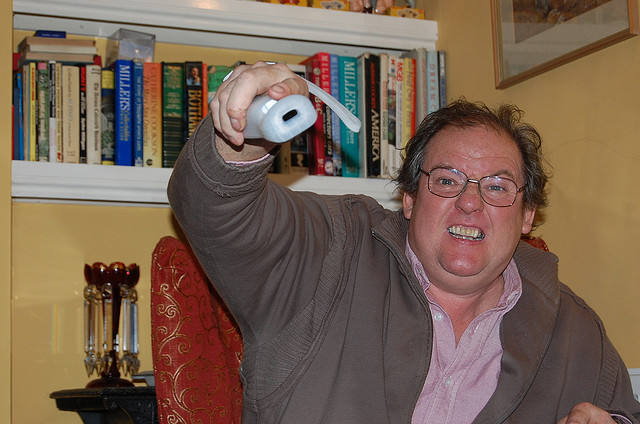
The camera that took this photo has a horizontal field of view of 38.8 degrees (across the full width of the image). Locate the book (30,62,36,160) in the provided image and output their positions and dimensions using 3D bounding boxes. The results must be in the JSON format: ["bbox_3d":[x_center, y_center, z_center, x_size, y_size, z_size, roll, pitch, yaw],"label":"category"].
[{"bbox_3d":[-1.021,-0.359,3.222,0.024,0.353,0.033,-1,0,-13],"label":"book"}]

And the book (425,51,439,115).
[{"bbox_3d":[0.445,-0.520,3.603,0.053,0.212,0.047,-1,0,-4],"label":"book"}]

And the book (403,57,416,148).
[{"bbox_3d":[0.352,-0.436,3.565,0.065,0.300,0.044,-1,0,-11],"label":"book"}]

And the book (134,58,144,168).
[{"bbox_3d":[-0.666,-0.367,3.332,0.032,0.391,0.061,-1,0,0],"label":"book"}]

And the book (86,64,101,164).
[{"bbox_3d":[-0.822,-0.343,3.281,0.039,0.439,0.294,0,-4,-12],"label":"book"}]

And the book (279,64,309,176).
[{"bbox_3d":[-0.082,-0.258,2.725,0.123,0.359,0.376,1,-1,-5],"label":"book"}]

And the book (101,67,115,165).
[{"bbox_3d":[-0.773,-0.351,3.299,0.050,0.350,0.045,-1,0,-11],"label":"book"}]

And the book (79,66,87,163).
[{"bbox_3d":[-0.854,-0.354,3.272,0.027,0.349,0.041,-1,0,-10],"label":"book"}]

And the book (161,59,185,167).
[{"bbox_3d":[-0.581,-0.402,3.487,0.087,0.296,0.277,-3,12,-21],"label":"book"}]

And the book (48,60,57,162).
[{"bbox_3d":[-0.958,-0.361,3.240,0.031,0.365,0.043,-1,0,-13],"label":"book"}]

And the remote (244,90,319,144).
[{"bbox_3d":[-0.111,-0.253,2.363,0.137,0.142,0.235,-28,17,-20],"label":"remote"}]

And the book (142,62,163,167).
[{"bbox_3d":[-0.623,-0.346,3.350,0.098,0.344,0.322,1,-6,-12],"label":"book"}]

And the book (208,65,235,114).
[{"bbox_3d":[-0.377,-0.497,3.471,0.092,0.163,0.166,-1,1,3],"label":"book"}]

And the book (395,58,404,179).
[{"bbox_3d":[0.308,-0.422,3.547,0.025,0.374,0.046,-1,0,15],"label":"book"}]

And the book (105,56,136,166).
[{"bbox_3d":[-0.729,-0.351,3.305,0.136,0.450,0.299,2,-7,-15],"label":"book"}]

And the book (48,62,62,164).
[{"bbox_3d":[-0.949,-0.338,3.237,0.041,0.454,0.310,-1,-2,-15],"label":"book"}]

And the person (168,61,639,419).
[{"bbox_3d":[0.259,0.114,2.742,1.410,0.952,0.622,-2,1,-12],"label":"person"}]

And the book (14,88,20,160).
[{"bbox_3d":[-1.076,-0.316,3.219,0.019,0.262,0.040,-1,0,-18],"label":"book"}]

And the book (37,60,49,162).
[{"bbox_3d":[-0.988,-0.346,3.226,0.035,0.403,0.276,0,-7,-14],"label":"book"}]
